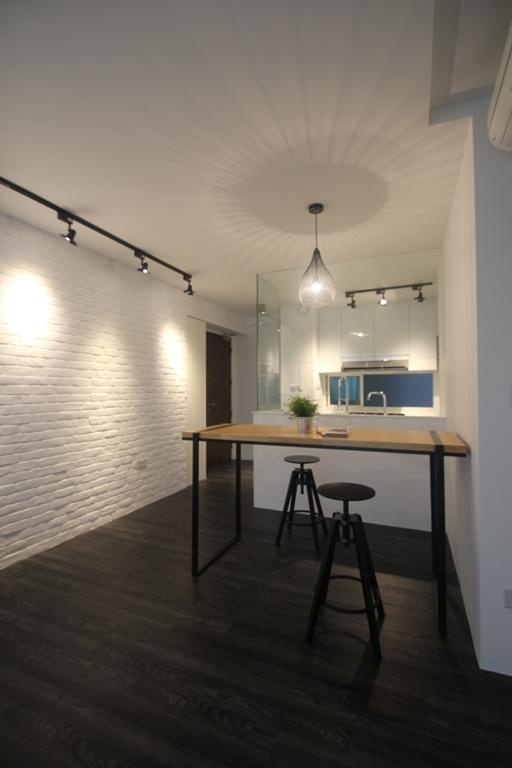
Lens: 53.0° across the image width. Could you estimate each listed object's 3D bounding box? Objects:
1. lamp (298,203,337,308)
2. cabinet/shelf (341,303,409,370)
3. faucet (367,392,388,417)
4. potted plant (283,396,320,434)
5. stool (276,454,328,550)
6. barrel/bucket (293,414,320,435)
[{"bbox_3d":[0.372,-0.810,3.317,0.213,0.600,0.497,-1,5,1],"label":"lamp"},{"bbox_3d":[0.973,-0.367,4.230,0.545,0.569,0.223,-1,-17,16],"label":"cabinet/shelf"},{"bbox_3d":[0.963,0.137,4.124,0.167,0.173,0.130,1,5,20],"label":"faucet"},{"bbox_3d":[0.279,0.173,3.050,0.180,0.225,0.194,-2,-3,38],"label":"potted plant"},{"bbox_3d":[0.312,0.791,3.520,0.348,0.577,0.349,0,2,-31],"label":"stool"},{"bbox_3d":[0.279,0.229,2.970,0.103,0.082,0.100,0,-2,0],"label":"barrel/bucket"}]
